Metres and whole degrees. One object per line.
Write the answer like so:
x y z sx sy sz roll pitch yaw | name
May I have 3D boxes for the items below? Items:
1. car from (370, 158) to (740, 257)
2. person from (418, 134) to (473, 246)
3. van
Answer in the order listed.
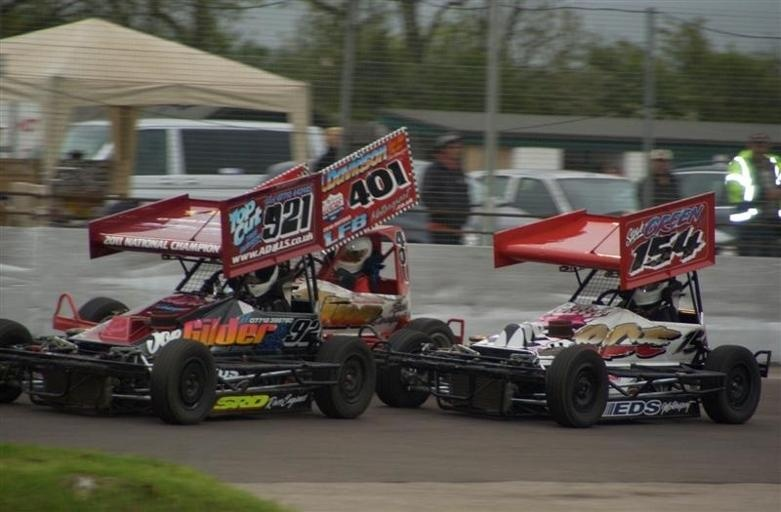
2.191 -0.842 24.088 3.262 1.062 1.606 -1 6 7 | car
0.907 -1.070 23.812 0.946 1.448 0.812 2 -1 -8 | person
-3.272 -1.224 22.199 2.055 1.522 6.675 4 -3 -25 | van
